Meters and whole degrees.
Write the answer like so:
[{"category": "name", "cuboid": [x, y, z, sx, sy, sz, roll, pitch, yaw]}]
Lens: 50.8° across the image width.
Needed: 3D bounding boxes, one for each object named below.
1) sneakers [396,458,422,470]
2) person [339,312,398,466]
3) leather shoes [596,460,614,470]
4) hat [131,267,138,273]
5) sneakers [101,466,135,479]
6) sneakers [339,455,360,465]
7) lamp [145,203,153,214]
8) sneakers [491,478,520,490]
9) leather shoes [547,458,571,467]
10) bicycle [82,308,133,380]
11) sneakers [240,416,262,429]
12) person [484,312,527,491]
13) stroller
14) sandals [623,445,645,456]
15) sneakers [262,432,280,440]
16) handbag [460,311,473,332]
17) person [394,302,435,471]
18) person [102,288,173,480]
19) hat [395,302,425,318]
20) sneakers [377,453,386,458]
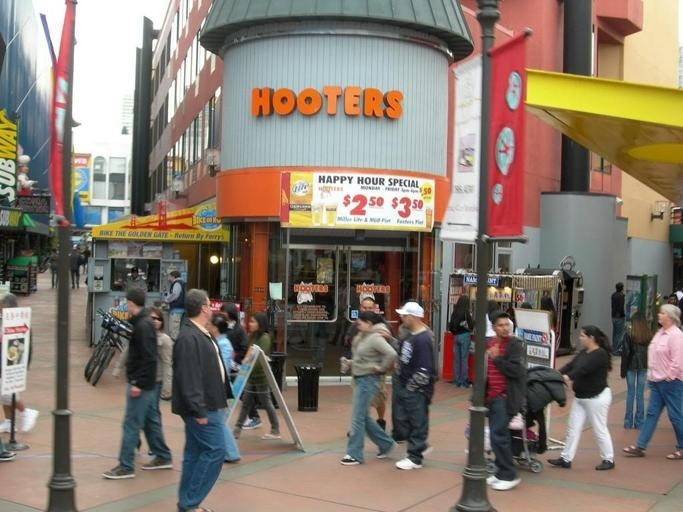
[{"category": "sneakers", "cuboid": [0.997, 3.100, 10.660, 0.372, 0.187, 0.148, 5, -6, -9]}, {"category": "person", "cuboid": [0.436, 1.999, 11.101, 0.877, 2.289, 0.791, -1, -1, 4]}, {"category": "leather shoes", "cuboid": [3.943, 3.134, 10.756, 0.246, 0.114, 0.130, 0, -2, -20]}, {"category": "hat", "cuboid": [-6.306, 0.431, 21.941, 0.181, 0.206, 0.193, 5, 6, 32]}, {"category": "sneakers", "cuboid": [-3.094, 3.024, 9.954, 0.414, 0.198, 0.171, 7, -4, -7]}, {"category": "sneakers", "cuboid": [0.120, 3.074, 10.834, 0.309, 0.157, 0.125, 8, -1, -6]}, {"category": "lamp", "cuboid": [-11.834, -2.897, 43.962, 0.402, 0.578, 0.774, -1, -2, -3]}, {"category": "sneakers", "cuboid": [2.258, 3.145, 9.935, 0.360, 0.129, 0.146, 3, -5, -27]}, {"category": "leather shoes", "cuboid": [3.287, 3.123, 10.874, 0.335, 0.158, 0.127, 8, -4, 17]}, {"category": "bicycle", "cuboid": [-5.497, 2.004, 16.978, 1.285, 0.793, 0.606, 30, -15, 46]}, {"category": "sneakers", "cuboid": [-1.635, 3.055, 13.126, 0.142, 0.201, 0.436, 0, -8, 32]}, {"category": "person", "cuboid": [2.311, 2.010, 10.105, 0.559, 2.402, 0.592, -1, -1, 13]}, {"category": "stroller", "cuboid": [2.828, 2.584, 11.017, 1.265, 1.473, 1.035, -4, -16, 25]}, {"category": "sandals", "cuboid": [4.661, 3.110, 11.454, 0.366, 0.167, 0.130, 5, -8, 8]}, {"category": "sneakers", "cuboid": [-1.184, 3.071, 12.273, 0.235, 0.112, 0.113, 8, -9, -9]}, {"category": "handbag", "cuboid": [2.953, 1.557, 17.085, 0.204, 0.277, 0.383, -30, -53, 9]}, {"category": "person", "cuboid": [1.085, 1.928, 10.849, 0.610, 2.473, 0.616, -2, -1, 25]}, {"category": "person", "cuboid": [-2.833, 1.774, 10.144, 0.499, 2.623, 0.841, -2, -1, 37]}, {"category": "hat", "cuboid": [1.047, 0.824, 10.953, 0.369, 0.212, 0.270, 16, -4, 8]}, {"category": "sneakers", "cuboid": [0.615, 3.107, 11.195, 0.148, 0.068, 0.055, -5, -3, 43]}]
